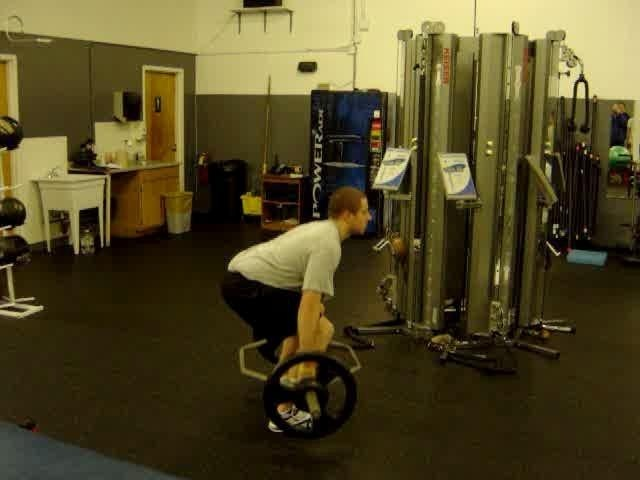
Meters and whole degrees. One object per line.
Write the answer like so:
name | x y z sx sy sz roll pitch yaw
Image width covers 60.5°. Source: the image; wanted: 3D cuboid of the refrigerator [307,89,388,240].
refrigerator | 0.471 -1.161 9.063 1.060 2.493 0.808 3 9 11

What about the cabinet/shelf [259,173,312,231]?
cabinet/shelf | -0.594 -0.645 9.381 0.641 0.942 0.493 5 8 17

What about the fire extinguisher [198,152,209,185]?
fire extinguisher | -2.152 -1.318 10.220 0.213 0.578 0.346 -2 11 -13

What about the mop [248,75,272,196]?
mop | -1.044 -1.896 9.907 0.425 2.100 0.303 -3 11 -18

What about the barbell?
barbell | -0.078 0.724 3.175 0.495 0.960 0.727 -1 11 -7

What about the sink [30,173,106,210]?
sink | -3.219 -0.608 7.154 0.816 0.439 0.463 -6 13 -27

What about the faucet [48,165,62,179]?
faucet | -3.503 -0.909 7.314 0.118 0.105 0.193 5 15 -14

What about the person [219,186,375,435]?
person | -0.157 0.270 3.202 0.603 1.607 0.808 5 8 -14

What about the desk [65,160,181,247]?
desk | -2.979 -0.656 8.339 0.902 1.264 2.439 3 9 15

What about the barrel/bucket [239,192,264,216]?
barrel/bucket | -1.216 -0.726 9.803 0.472 0.380 0.341 2 8 11
